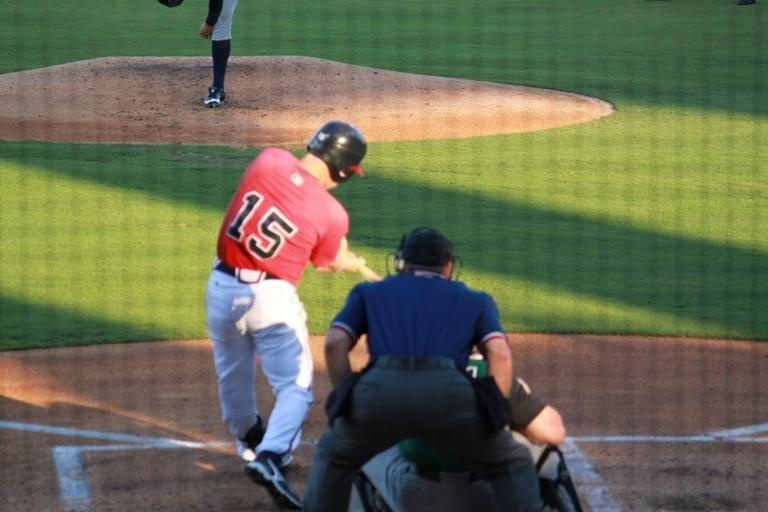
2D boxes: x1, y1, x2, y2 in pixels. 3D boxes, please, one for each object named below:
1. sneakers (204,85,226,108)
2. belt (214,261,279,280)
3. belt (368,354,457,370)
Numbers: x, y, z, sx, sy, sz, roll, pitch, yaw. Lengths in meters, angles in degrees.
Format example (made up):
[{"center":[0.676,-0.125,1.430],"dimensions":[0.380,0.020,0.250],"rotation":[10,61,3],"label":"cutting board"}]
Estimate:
[{"center":[-2.823,-2.598,21.955],"dimensions":[0.262,0.257,0.413],"rotation":[-4,7,-37],"label":"sneakers"},{"center":[-1.522,0.178,14.366],"dimensions":[0.675,0.212,0.157],"rotation":[3,2,18],"label":"belt"},{"center":[0.287,1.101,13.569],"dimensions":[0.844,0.147,0.081],"rotation":[2,3,-1],"label":"belt"}]
